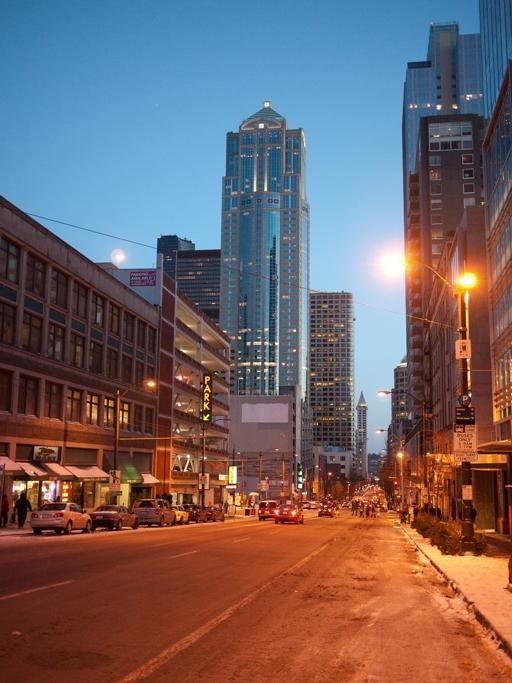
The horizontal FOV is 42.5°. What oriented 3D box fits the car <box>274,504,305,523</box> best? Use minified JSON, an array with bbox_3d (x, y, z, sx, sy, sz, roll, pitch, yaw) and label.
[{"bbox_3d":[2.505,13.327,50.798,1.818,1.420,3.023,-6,-15,42],"label":"car"}]
